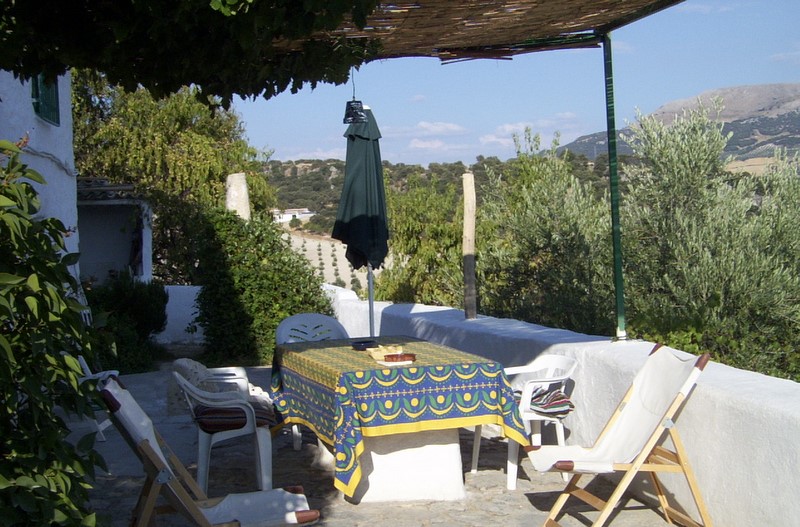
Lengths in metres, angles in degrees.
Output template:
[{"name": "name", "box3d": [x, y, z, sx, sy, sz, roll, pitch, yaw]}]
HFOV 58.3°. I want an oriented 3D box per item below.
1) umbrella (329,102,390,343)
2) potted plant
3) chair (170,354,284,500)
[{"name": "umbrella", "box3d": [-0.447, -0.495, 8.097, 0.592, 2.625, 0.734, -3, 6, -3]}, {"name": "potted plant", "box3d": [-4.401, 0.929, 11.807, 1.052, 1.519, 2.554, -4, 5, -19]}, {"name": "chair", "box3d": [-1.539, 1.289, 6.498, 1.011, 1.401, 1.091, -2, 6, -12]}]
